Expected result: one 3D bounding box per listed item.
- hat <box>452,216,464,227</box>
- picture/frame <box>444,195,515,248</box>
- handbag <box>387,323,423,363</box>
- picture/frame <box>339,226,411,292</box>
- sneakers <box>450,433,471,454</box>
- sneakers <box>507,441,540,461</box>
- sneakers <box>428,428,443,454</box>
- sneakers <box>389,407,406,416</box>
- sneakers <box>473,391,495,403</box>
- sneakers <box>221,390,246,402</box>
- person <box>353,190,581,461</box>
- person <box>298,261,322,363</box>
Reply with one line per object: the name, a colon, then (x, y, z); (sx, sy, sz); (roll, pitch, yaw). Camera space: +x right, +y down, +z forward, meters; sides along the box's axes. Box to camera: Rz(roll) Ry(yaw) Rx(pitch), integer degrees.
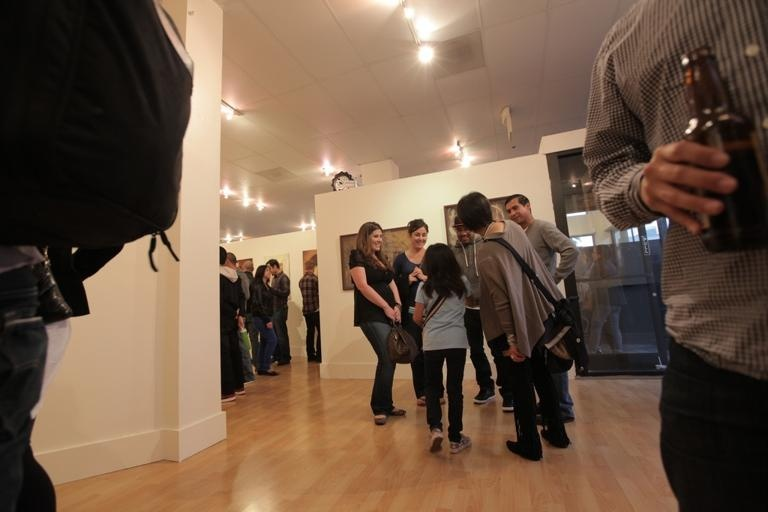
hat: (0.683, -0.332, 4.470); (0.125, 0.105, 0.186); (-1, -9, 4)
picture/frame: (0.836, -0.290, 4.108); (0.030, 0.536, 0.664); (-3, -2, -36)
handbag: (0.166, 0.727, 4.022); (0.170, 0.365, 0.360); (-20, -18, 13)
picture/frame: (-0.055, 0.035, 4.999); (0.836, 0.628, 0.019); (-2, -7, 11)
sneakers: (0.532, 1.298, 3.317); (0.070, 0.086, 0.194); (-4, -5, 32)
sneakers: (0.915, 1.270, 3.171); (0.073, 0.097, 0.219); (-24, 16, -19)
sneakers: (0.352, 1.269, 3.304); (0.073, 0.078, 0.182); (4, -46, -6)
sneakers: (0.122, 1.376, 4.263); (0.136, 0.053, 0.073); (-2, -3, 12)
sneakers: (0.933, 1.338, 4.521); (0.085, 0.104, 0.256); (-9, -18, 29)
sneakers: (-1.684, 1.552, 5.284); (0.350, 0.147, 0.127); (-3, -4, 39)
person: (0.932, 0.425, 3.218); (0.684, 1.622, 0.446); (-3, -1, -9)
person: (-1.327, 1.093, 8.658); (0.289, 1.229, 0.711); (-3, -2, -11)
